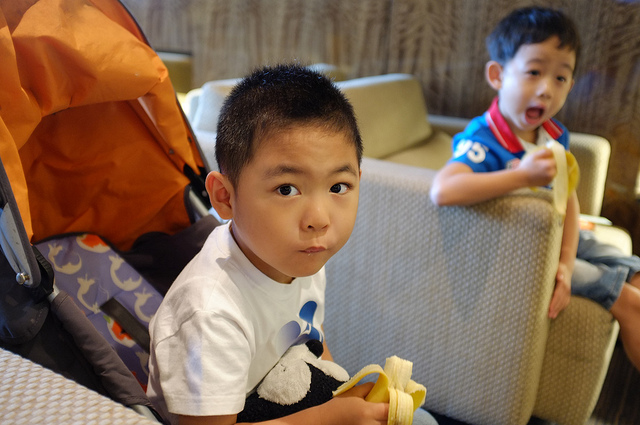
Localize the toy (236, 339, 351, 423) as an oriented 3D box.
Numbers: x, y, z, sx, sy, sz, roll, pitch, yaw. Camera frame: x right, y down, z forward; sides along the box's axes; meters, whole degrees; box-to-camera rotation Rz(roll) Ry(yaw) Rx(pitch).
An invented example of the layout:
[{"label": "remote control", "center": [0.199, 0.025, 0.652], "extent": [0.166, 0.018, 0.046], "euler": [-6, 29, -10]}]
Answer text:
[{"label": "toy", "center": [-0.063, 0.372, 1.150], "extent": [0.186, 0.074, 0.136], "euler": [-32, 36, -1]}]

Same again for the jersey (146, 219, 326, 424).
[{"label": "jersey", "center": [-0.162, 0.244, 1.107], "extent": [0.197, 0.266, 0.350], "euler": [29, 16, 7]}]

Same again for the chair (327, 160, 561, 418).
[{"label": "chair", "center": [0.336, 0.209, 1.757], "extent": [0.679, 0.757, 0.669], "euler": [12, 24, 22]}]

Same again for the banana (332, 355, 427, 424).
[{"label": "banana", "center": [0.132, 0.369, 1.178], "extent": [0.161, 0.088, 0.161], "euler": [14, 6, 22]}]

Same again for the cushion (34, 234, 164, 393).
[{"label": "cushion", "center": [-0.575, 0.289, 1.431], "extent": [0.444, 0.105, 0.237], "euler": [53, 43, 2]}]
